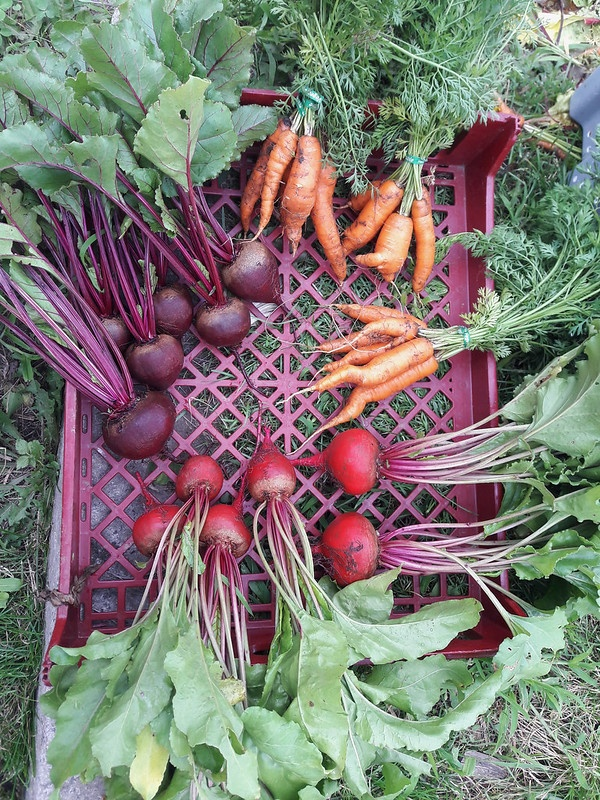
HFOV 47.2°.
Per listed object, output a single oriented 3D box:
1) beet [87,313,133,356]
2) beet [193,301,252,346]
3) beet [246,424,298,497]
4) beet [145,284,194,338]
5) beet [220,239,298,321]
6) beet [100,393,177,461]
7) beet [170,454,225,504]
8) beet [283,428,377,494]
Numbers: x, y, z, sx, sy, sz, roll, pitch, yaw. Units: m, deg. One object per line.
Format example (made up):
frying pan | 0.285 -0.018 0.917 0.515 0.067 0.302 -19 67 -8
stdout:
beet | -0.426 -0.155 1.610 0.079 0.076 0.088 -9 95 13
beet | -0.185 -0.177 1.701 0.097 0.098 0.119 -14 102 -38
beet | -0.070 0.147 1.624 0.084 0.076 0.146 -2 62 -15
beet | -0.309 -0.209 1.640 0.094 0.093 0.116 -5 79 -7
beet | -0.124 -0.310 1.706 0.136 0.166 0.136 -13 82 -3
beet | -0.362 0.065 1.613 0.170 0.097 0.141 -24 73 -4
beet | -0.235 0.180 1.599 0.098 0.066 0.110 23 88 -16
beet | 0.092 0.154 1.669 0.230 0.132 0.128 3 88 11
